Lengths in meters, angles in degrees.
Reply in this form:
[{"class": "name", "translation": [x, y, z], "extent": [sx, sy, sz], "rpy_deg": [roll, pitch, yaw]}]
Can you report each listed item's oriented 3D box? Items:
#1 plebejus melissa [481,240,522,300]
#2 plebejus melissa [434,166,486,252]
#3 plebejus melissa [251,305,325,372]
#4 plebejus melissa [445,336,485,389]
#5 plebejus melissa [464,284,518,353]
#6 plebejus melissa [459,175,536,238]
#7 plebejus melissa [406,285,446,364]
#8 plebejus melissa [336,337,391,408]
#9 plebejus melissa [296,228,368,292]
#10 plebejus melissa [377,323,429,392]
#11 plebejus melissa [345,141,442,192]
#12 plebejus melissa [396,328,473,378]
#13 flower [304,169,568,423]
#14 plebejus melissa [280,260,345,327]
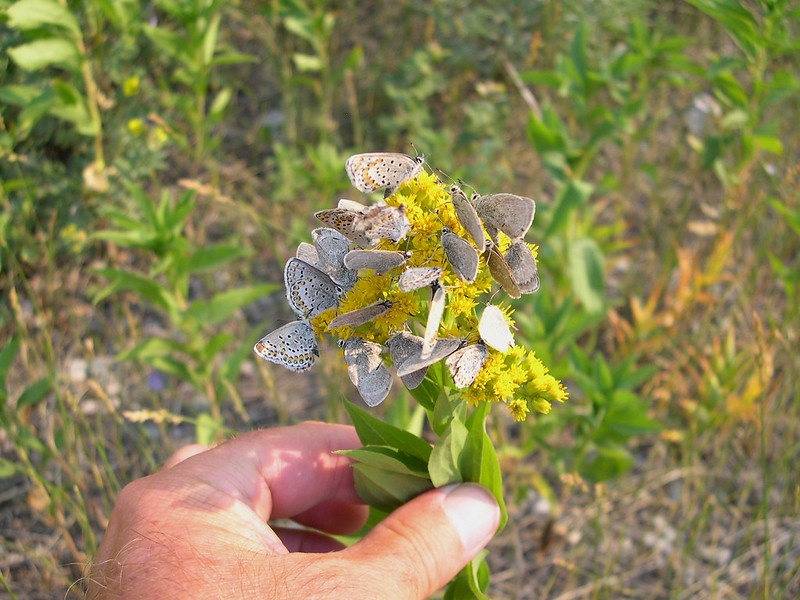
[{"class": "plebejus melissa", "translation": [0.302, -0.094, 2.759], "extent": [0.069, 0.156, 0.146], "rpy_deg": [-25, -12, 4]}, {"class": "plebejus melissa", "translation": [0.181, -0.269, 2.734], "extent": [0.078, 0.233, 0.079], "rpy_deg": [-27, 6, -6]}, {"class": "plebejus melissa", "translation": [-0.348, 0.143, 2.932], "extent": [0.207, 0.130, 0.170], "rpy_deg": [-29, 43, -4]}, {"class": "plebejus melissa", "translation": [0.203, 0.189, 2.791], "extent": [0.070, 0.125, 0.125], "rpy_deg": [34, -2, -36]}, {"class": "plebejus melissa", "translation": [0.275, 0.072, 2.789], "extent": [0.087, 0.179, 0.149], "rpy_deg": [-19, 0, 3]}, {"class": "plebejus melissa", "translation": [0.320, -0.263, 2.764], "extent": [0.133, 0.119, 0.148], "rpy_deg": [18, -7, -8]}, {"class": "plebejus melissa", "translation": [0.076, 0.059, 2.723], "extent": [0.058, 0.186, 0.131], "rpy_deg": [3, 4, -17]}, {"class": "plebejus melissa", "translation": [-0.100, 0.209, 2.819], "extent": [0.070, 0.191, 0.197], "rpy_deg": [-26, 26, 12]}, {"class": "plebejus melissa", "translation": [-0.209, -0.144, 2.854], "extent": [0.114, 0.191, 0.237], "rpy_deg": [-4, 27, 3]}, {"class": "plebejus melissa", "translation": [0.018, 0.154, 2.809], "extent": [0.085, 0.155, 0.146], "rpy_deg": [41, 24, -1]}, {"class": "plebejus melissa", "translation": [-0.041, -0.401, 2.867], "extent": [0.262, 0.129, 0.291], "rpy_deg": [-2, -2, -11]}, {"class": "plebejus melissa", "translation": [0.089, 0.160, 2.725], "extent": [0.131, 0.089, 0.136], "rpy_deg": [-43, 7, -17]}, {"class": "flower", "translation": [0.130, -0.012, 2.881], "extent": [0.670, 0.793, 0.398], "rpy_deg": [-12, -27, -22]}, {"class": "plebejus melissa", "translation": [-0.274, -0.038, 2.841], "extent": [0.129, 0.274, 0.130], "rpy_deg": [4, 32, 6]}]
